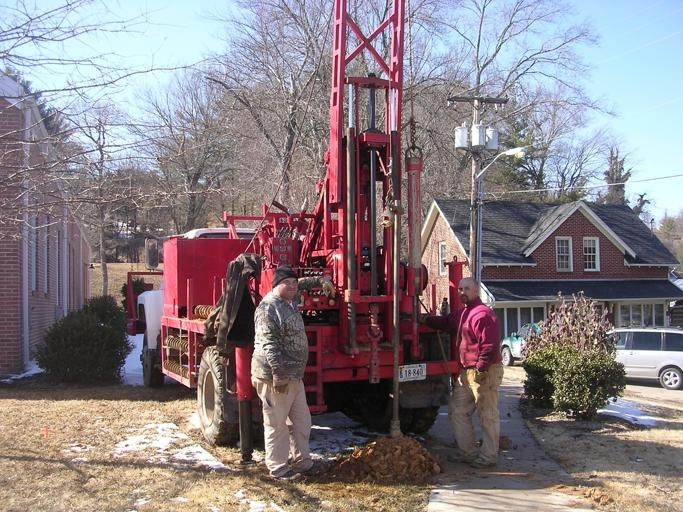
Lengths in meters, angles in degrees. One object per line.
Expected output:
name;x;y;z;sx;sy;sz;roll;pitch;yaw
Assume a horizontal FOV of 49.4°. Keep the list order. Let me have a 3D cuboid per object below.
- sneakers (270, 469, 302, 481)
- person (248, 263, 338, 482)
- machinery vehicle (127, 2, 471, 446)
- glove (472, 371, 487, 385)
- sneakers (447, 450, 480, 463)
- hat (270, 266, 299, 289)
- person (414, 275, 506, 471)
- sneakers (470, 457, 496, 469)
sneakers;-0.745;2.999;10.174;0.427;0.216;0.169;-3;-5;2
person;-0.803;1.590;10.240;0.838;2.891;0.541;0;3;-10
machinery vehicle;-0.255;-0.016;15.471;3.743;7.516;9.492;1;3;-20
glove;2.039;1.780;10.828;0.185;0.203;0.122;1;3;11
sneakers;1.832;2.965;11.091;0.392;0.205;0.172;9;-4;6
hat;-0.768;0.290;10.256;0.274;0.245;0.282;6;-2;45
person;1.918;1.689;11.084;0.455;2.717;0.971;-2;4;-42
sneakers;2.084;3.004;10.875;0.337;0.169;0.153;12;-13;-13
